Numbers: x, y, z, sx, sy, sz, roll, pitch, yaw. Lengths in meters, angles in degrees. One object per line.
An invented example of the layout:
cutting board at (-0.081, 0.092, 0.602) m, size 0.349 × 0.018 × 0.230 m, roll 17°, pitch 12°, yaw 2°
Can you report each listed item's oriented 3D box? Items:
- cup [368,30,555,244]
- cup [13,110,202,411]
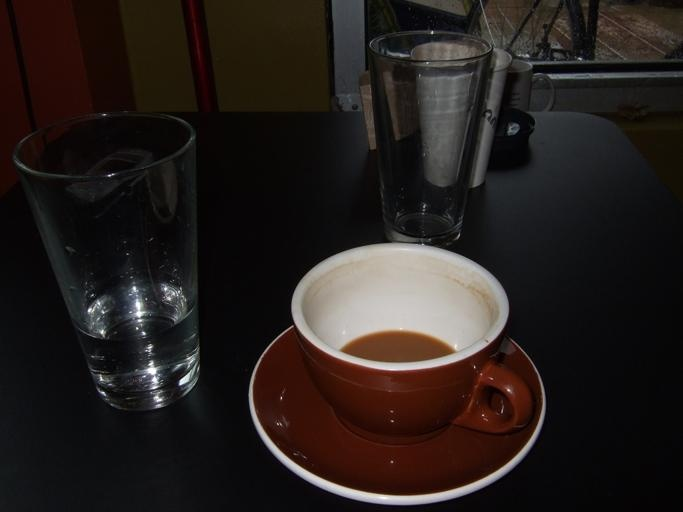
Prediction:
cup at (0.147, -0.154, 0.698) m, size 0.189 × 0.295 × 0.203 m, roll -1°, pitch 33°, yaw 1°
cup at (-0.173, -0.006, 0.451) m, size 0.125 × 0.185 × 0.163 m, roll -2°, pitch 33°, yaw -1°
